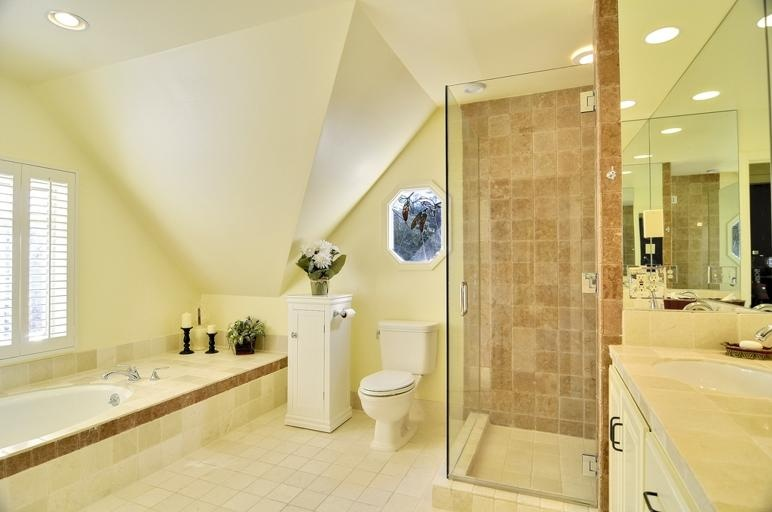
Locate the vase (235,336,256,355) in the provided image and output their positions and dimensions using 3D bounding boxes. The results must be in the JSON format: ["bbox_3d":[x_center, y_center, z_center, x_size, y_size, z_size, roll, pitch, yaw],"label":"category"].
[{"bbox_3d":[-1.437,0.911,5.000,0.141,0.124,0.195,0,-4,-8],"label":"vase"}]

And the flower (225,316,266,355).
[{"bbox_3d":[-1.451,0.795,5.074,0.363,0.254,0.362,0,5,-10],"label":"flower"}]

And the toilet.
[{"bbox_3d":[0.055,1.103,4.279,0.577,0.959,0.954,0,2,26],"label":"toilet"}]

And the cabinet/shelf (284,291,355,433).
[{"bbox_3d":[-0.604,0.944,4.433,0.620,1.160,0.482,-1,11,-4],"label":"cabinet/shelf"}]

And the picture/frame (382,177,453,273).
[{"bbox_3d":[0.306,-0.296,4.615,0.910,1.238,0.060,0,0,14],"label":"picture/frame"}]

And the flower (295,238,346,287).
[{"bbox_3d":[-0.572,0.063,4.612,0.405,0.408,0.212,-9,-1,9],"label":"flower"}]

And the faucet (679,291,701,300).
[{"bbox_3d":[1.864,0.244,2.996,0.037,0.062,0.112,0,0,-41],"label":"faucet"}]

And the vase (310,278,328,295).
[{"bbox_3d":[-0.617,0.285,4.566,0.140,0.108,0.146,0,-7,0],"label":"vase"}]

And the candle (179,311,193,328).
[{"bbox_3d":[-2.065,0.655,5.112,0.152,0.167,0.154,-1,-2,14],"label":"candle"}]

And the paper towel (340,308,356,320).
[{"bbox_3d":[-0.355,0.525,4.527,0.138,0.083,0.228,1,-3,-16],"label":"paper towel"}]

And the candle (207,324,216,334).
[{"bbox_3d":[-1.818,0.749,5.110,0.082,0.074,0.082,3,-2,-15],"label":"candle"}]
